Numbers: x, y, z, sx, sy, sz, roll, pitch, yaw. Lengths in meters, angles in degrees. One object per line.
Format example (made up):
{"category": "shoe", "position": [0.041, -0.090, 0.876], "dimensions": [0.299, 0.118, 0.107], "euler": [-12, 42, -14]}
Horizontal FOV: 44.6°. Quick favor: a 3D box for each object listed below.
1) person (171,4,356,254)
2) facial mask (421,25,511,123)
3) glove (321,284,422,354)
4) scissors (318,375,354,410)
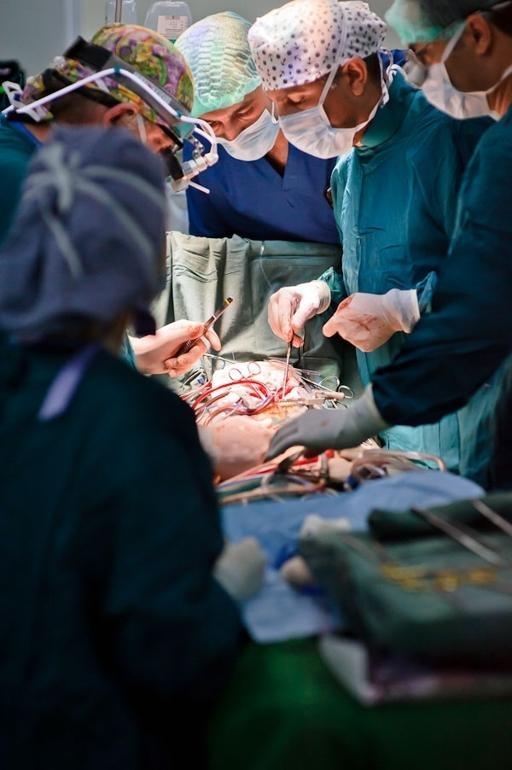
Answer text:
{"category": "person", "position": [0.011, -0.903, 2.393], "dimensions": [0.698, 0.860, 0.348], "euler": [7, 49, 17]}
{"category": "facial mask", "position": [0.407, -0.606, 1.216], "dimensions": [0.083, 0.141, 0.124], "euler": [20, 24, 35]}
{"category": "glove", "position": [0.333, -0.192, 1.821], "dimensions": [0.108, 0.138, 0.226], "euler": [-23, -3, -22]}
{"category": "scissors", "position": [0.291, 0.020, 2.231], "dimensions": [0.093, 0.035, 0.136], "euler": [1, 13, -11]}
